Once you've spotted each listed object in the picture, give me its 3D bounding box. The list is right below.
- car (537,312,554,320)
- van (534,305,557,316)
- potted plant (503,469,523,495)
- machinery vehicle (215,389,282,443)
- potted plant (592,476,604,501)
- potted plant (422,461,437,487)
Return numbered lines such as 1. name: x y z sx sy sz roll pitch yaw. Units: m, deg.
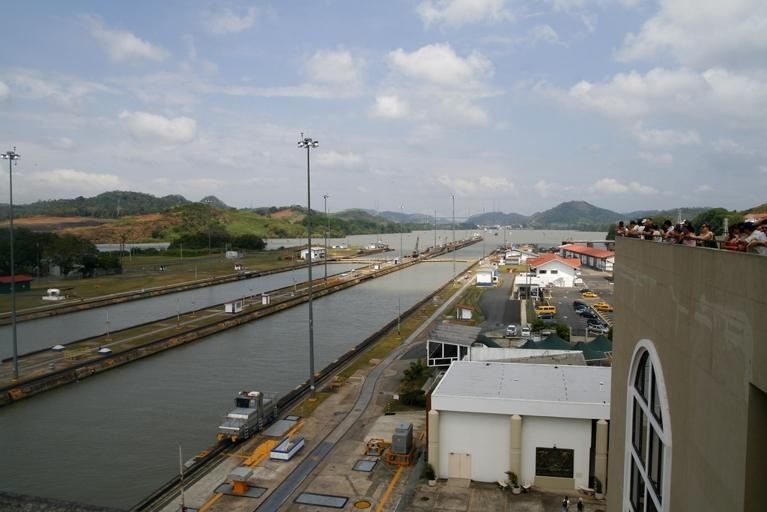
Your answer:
1. car: 16.980 6.275 52.498 1.964 0.815 1.013 1 -1 -2
2. van: 17.244 5.831 53.351 2.024 0.896 1.168 1 -1 2
3. potted plant: 5.847 10.143 22.638 0.696 0.823 0.861 -2 -2 -9
4. machinery vehicle: -7.380 8.641 28.482 1.610 1.860 4.695 2 8 12
5. potted plant: 9.493 10.186 22.214 0.415 0.854 0.385 3 4 36
6. potted plant: 2.151 10.044 23.285 0.629 0.862 0.515 1 4 13
